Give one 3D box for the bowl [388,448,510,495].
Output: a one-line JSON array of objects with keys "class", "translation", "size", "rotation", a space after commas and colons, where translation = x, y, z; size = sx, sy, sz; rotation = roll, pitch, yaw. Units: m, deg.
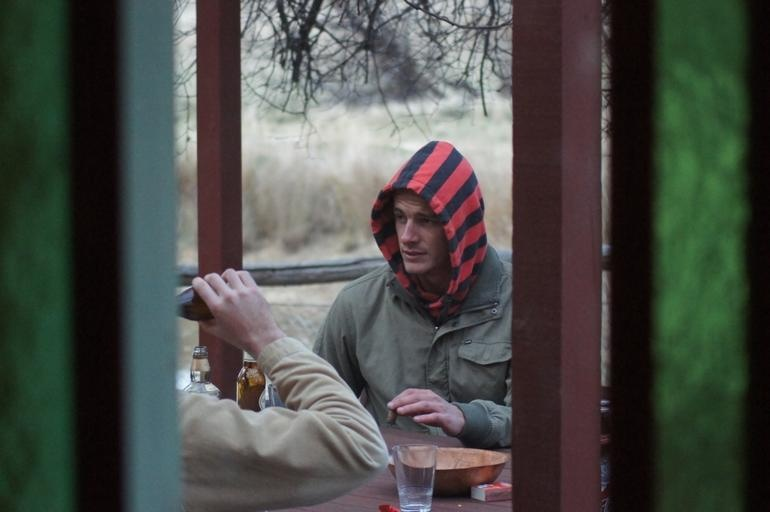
[{"class": "bowl", "translation": [0.172, 0.454, 2.664], "size": [0.145, 0.055, 0.157], "rotation": [-2, 1, 0]}]
